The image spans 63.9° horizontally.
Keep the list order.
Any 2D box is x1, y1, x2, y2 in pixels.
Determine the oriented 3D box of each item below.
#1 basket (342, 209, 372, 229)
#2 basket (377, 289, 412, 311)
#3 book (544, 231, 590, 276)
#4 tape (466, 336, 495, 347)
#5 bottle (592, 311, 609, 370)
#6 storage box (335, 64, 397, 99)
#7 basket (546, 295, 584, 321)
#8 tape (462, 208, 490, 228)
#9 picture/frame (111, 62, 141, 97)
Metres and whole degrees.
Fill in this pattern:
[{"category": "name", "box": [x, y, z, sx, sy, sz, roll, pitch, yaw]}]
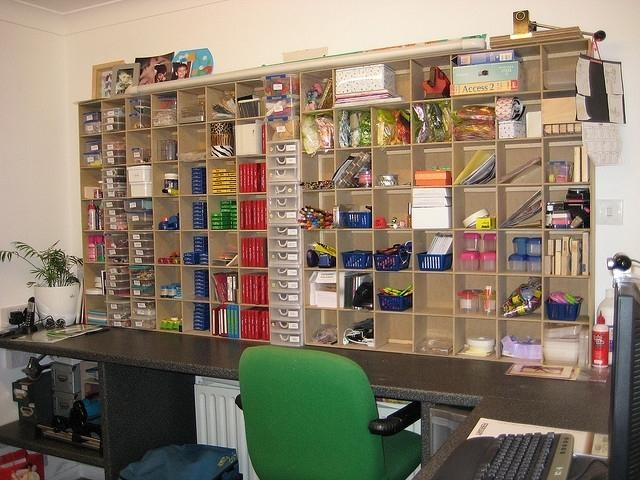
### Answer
[{"category": "basket", "box": [0.248, -0.138, 3.405, 0.147, 0.089, 0.143, 1, 5, 17]}, {"category": "basket", "box": [0.494, 0.385, 3.358, 0.128, 0.078, 0.168, 0, 3, 19]}, {"category": "book", "box": [1.466, 0.086, 3.042, 0.228, 0.290, 0.309, 1, -1, 30]}, {"category": "tape", "box": [1.020, 0.643, 3.232, 0.153, 0.042, 0.128, -1, 1, 26]}, {"category": "bottle", "box": [1.591, 0.565, 2.907, 0.090, 0.308, 0.140, -1, 1, 28]}, {"category": "storage box", "box": [0.296, -0.953, 3.332, 0.321, 0.150, 0.222, 1, 4, 28]}, {"category": "basket", "box": [1.423, 0.394, 2.995, 0.143, 0.081, 0.183, -1, -4, 29]}, {"category": "tape", "box": [0.970, -0.134, 3.184, 0.168, 0.072, 0.107, -1, 1, 27]}, {"category": "picture/frame", "box": [-1.624, -1.326, 4.284, 0.308, 0.283, 0.025, 5, 2, 29]}]
